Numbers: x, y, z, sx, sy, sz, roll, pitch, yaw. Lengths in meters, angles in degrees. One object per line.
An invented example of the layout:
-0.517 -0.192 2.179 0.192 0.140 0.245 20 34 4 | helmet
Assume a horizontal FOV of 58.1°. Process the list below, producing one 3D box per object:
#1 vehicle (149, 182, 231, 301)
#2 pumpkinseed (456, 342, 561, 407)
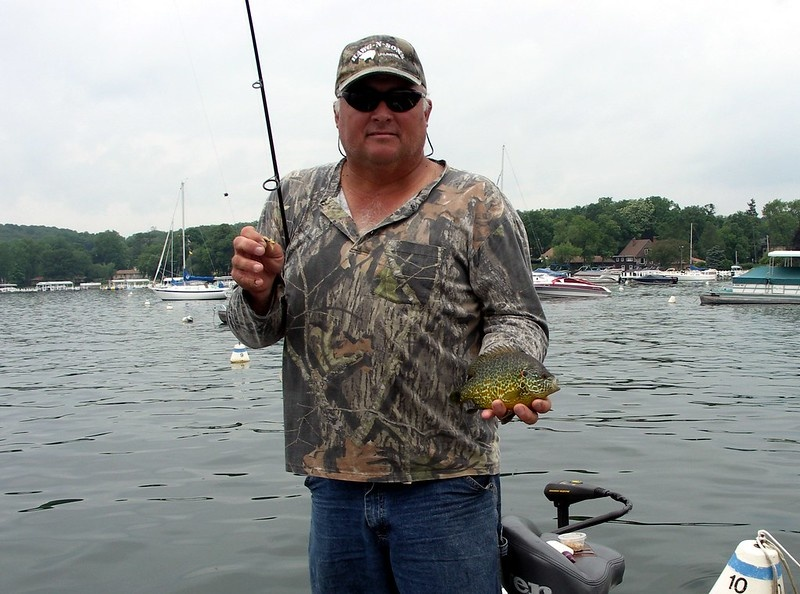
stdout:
-20.659 -4.942 69.752 2.481 10.480 8.950 8 6 36 | vehicle
0.464 0.399 3.292 0.582 0.329 0.147 -12 -20 35 | pumpkinseed
